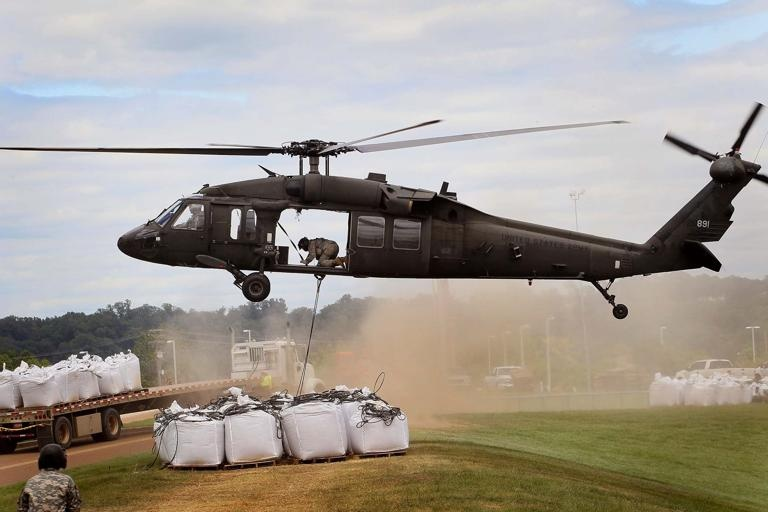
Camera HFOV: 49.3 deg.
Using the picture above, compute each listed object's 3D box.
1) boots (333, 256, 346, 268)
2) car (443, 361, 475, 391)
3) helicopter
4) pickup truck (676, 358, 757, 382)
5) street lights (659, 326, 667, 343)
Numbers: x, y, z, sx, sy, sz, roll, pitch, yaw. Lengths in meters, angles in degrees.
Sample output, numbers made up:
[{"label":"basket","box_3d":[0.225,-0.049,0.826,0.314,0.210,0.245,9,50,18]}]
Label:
[{"label":"boots","box_3d":[-1.254,0.185,24.518,0.342,0.228,0.506,2,-11,-15]},{"label":"car","box_3d":[3.962,6.409,44.863,1.440,1.326,4.814,-2,-1,4]},{"label":"helicopter","box_3d":[1.615,-0.572,27.125,14.186,3.574,10.669,3,-3,-7]},{"label":"pickup truck","box_3d":[16.663,5.691,41.756,3.948,1.050,1.866,1,-2,0]},{"label":"street lights","box_3d":[16.904,4.798,50.790,0.465,1.098,0.978,-3,-1,17]}]
